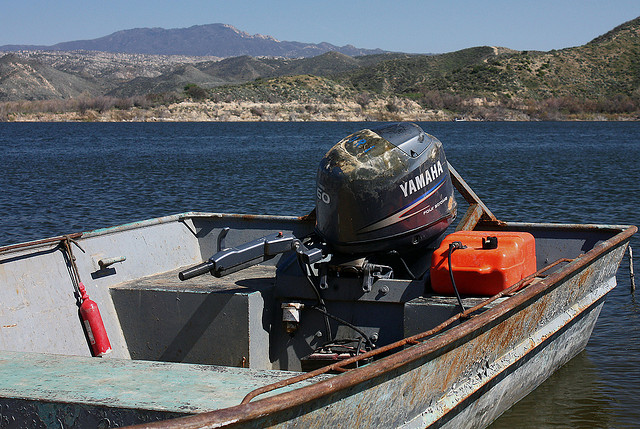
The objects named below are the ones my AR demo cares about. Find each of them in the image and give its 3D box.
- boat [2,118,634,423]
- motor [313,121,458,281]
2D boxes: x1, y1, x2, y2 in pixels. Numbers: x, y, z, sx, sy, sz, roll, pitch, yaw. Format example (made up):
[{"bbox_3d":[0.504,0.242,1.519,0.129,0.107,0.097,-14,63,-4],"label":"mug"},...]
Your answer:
[{"bbox_3d":[0.030,1.044,10.548,4.628,1.896,5.867,3,7,41],"label":"boat"},{"bbox_3d":[0.821,-0.196,11.232,2.026,1.730,1.370,-18,30,-27],"label":"motor"}]
